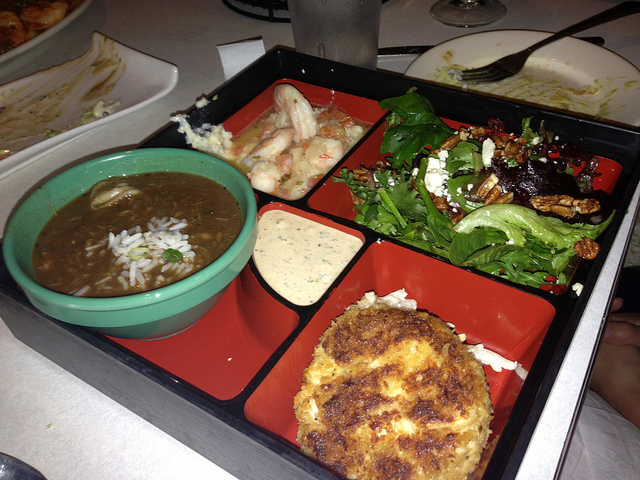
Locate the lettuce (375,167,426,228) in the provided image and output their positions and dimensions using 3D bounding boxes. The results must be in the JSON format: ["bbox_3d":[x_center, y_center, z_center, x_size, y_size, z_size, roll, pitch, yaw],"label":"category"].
[{"bbox_3d":[0.295,-0.169,1.879,0.244,0.079,0.198,-15,83,-11],"label":"lettuce"}]

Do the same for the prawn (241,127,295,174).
[{"bbox_3d":[-0.219,-0.406,2.220,0.322,0.180,0.183,-20,31,-32],"label":"prawn"}]

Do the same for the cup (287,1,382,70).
[{"bbox_3d":[0.061,-0.929,2.259,0.230,0.325,0.203,24,63,12],"label":"cup"}]

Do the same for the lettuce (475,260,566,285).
[{"bbox_3d":[0.672,0.111,1.721,0.150,0.029,0.134,6,28,14],"label":"lettuce"}]

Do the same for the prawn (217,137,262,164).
[{"bbox_3d":[-0.364,-0.406,2.265,0.145,0.033,0.139,29,65,17],"label":"prawn"}]

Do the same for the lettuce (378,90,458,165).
[{"bbox_3d":[0.371,-0.454,1.980,0.338,0.077,0.269,-4,65,3],"label":"lettuce"}]

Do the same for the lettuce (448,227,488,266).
[{"bbox_3d":[0.501,0.022,1.780,0.115,0.051,0.141,41,70,1],"label":"lettuce"}]

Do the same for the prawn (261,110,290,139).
[{"bbox_3d":[-0.185,-0.537,2.370,0.136,0.053,0.137,-51,57,20],"label":"prawn"}]

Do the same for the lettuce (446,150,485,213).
[{"bbox_3d":[0.512,-0.215,1.829,0.108,0.035,0.209,-11,75,1],"label":"lettuce"}]

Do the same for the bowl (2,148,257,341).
[{"bbox_3d":[-0.573,-0.006,1.665,0.832,0.317,0.690,-1,49,-4],"label":"bowl"}]

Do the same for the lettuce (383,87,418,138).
[{"bbox_3d":[0.321,-0.520,2.072,0.153,0.200,0.115,17,36,27],"label":"lettuce"}]
